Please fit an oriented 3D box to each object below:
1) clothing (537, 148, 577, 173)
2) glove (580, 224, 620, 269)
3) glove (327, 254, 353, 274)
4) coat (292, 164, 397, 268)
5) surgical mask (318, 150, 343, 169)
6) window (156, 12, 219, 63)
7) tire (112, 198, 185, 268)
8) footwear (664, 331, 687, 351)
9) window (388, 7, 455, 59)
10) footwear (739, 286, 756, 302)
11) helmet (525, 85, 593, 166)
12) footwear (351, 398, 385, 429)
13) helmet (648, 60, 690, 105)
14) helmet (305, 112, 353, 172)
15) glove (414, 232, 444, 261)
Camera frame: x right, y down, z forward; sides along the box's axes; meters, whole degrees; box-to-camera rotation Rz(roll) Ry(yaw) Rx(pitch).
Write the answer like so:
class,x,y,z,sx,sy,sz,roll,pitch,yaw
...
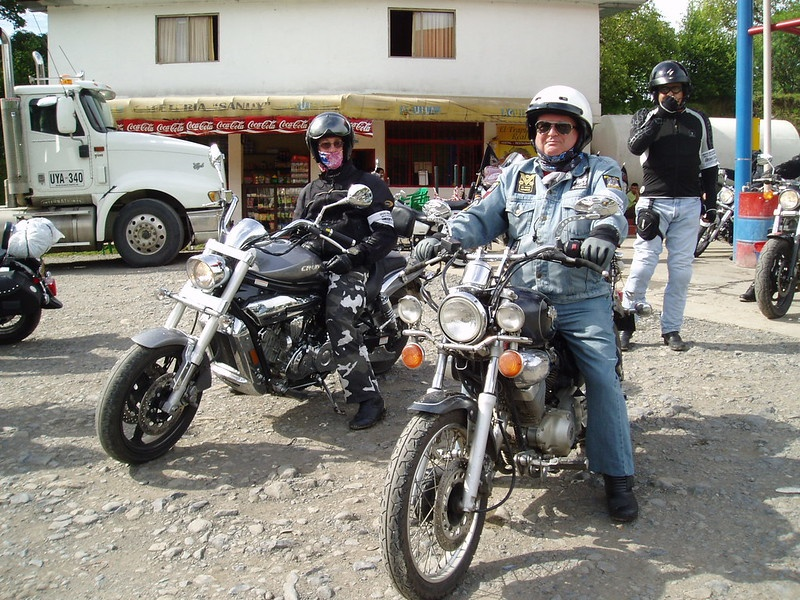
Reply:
class,x,y,z,sx,sy,sz,roll,pitch,yaw
clothing,0.907,-0.793,3.599,0.134,0.114,0.173,2,6,14
glove,1.007,-0.306,3.141,0.158,0.107,0.268,2,40,35
glove,-0.442,-0.267,4.539,0.161,0.062,0.115,-10,45,-6
coat,-0.487,-0.654,4.943,0.901,0.843,0.478,5,16,10
surgical mask,-0.531,-1.065,4.769,0.123,0.107,0.149,0,8,4
window,-6.074,-7.476,17.995,1.503,1.127,0.119,0,1,2
tire,-4.273,-1.176,10.589,1.093,1.119,0.392,-4,3,-2
footwear,2.612,0.389,5.977,0.106,0.113,0.249,-3,5,-1
window,0.515,-7.669,17.990,1.508,1.099,0.111,0,1,-6
footwear,4.306,-0.098,7.775,0.177,0.226,0.216,12,19,40
helmet,0.928,-1.015,3.742,0.397,0.510,0.475,3,8,30
footwear,-0.245,0.836,4.636,0.119,0.160,0.356,-6,-7,25
helmet,2.490,-2.020,5.855,0.317,0.369,0.376,-1,24,21
helmet,-0.590,-1.231,4.887,0.351,0.439,0.446,-2,11,4
glove,0.163,-0.271,3.404,0.111,0.074,0.152,16,59,49
